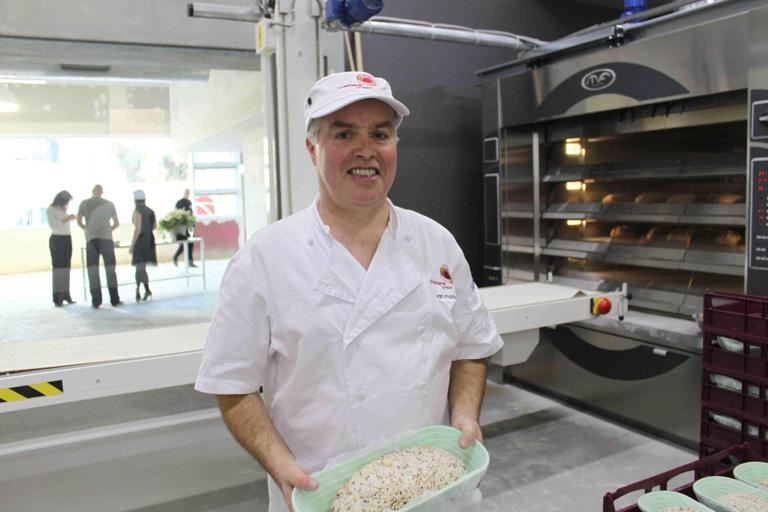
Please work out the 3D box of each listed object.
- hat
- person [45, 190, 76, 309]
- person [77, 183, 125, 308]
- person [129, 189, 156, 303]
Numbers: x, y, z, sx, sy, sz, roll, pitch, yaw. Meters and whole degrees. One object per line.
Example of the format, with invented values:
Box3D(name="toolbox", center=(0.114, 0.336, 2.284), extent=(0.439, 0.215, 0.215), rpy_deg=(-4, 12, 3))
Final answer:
Box3D(name="hat", center=(-0.102, -0.593, 1.996), extent=(0.386, 0.204, 0.162), rpy_deg=(-4, 13, -8))
Box3D(name="person", center=(-2.753, -0.066, 4.527), extent=(0.178, 0.943, 0.285), rpy_deg=(-3, 13, -2))
Box3D(name="person", center=(-2.470, -0.091, 4.638), extent=(0.303, 1.017, 0.239), rpy_deg=(-10, 15, -30))
Box3D(name="person", center=(-2.241, -0.087, 4.902), extent=(0.249, 1.005, 0.340), rpy_deg=(-1, 0, 5))
